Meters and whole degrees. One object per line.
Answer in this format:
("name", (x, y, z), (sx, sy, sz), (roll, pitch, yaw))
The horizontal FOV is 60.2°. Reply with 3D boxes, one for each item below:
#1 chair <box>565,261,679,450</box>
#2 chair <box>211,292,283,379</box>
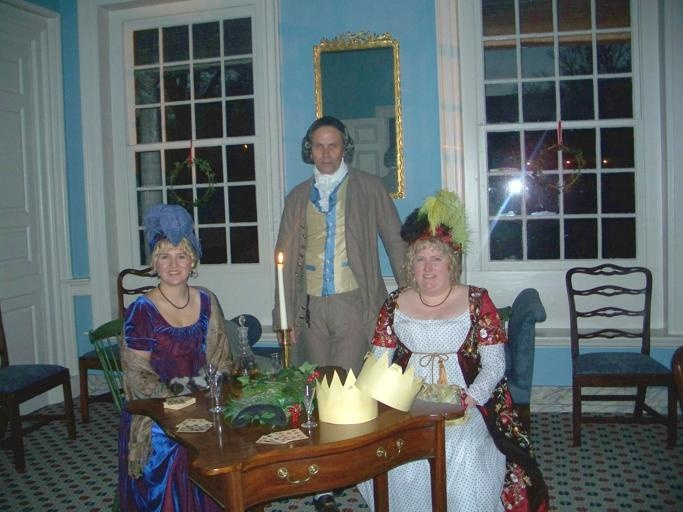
("chair", (2.139, 0.696, 4.559), (0.744, 1.252, 1.056), (-1, 6, 21))
("chair", (-0.589, 0.514, 3.819), (0.376, 0.452, 0.399), (-5, -22, -41))
